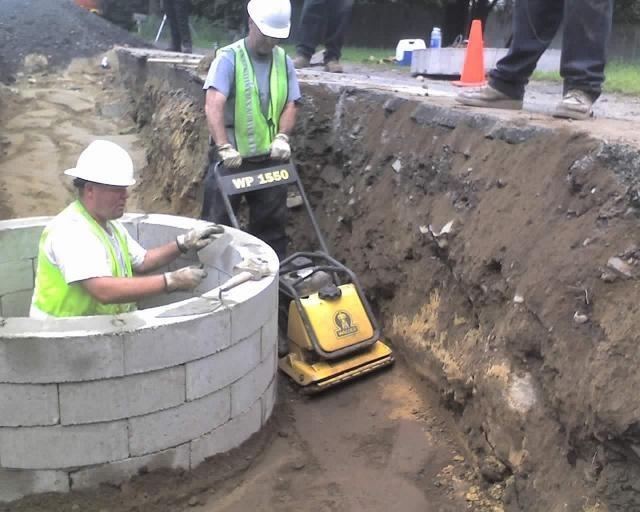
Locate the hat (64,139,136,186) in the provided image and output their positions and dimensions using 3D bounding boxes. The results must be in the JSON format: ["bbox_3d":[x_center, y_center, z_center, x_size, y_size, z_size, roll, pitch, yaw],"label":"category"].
[{"bbox_3d":[-1.439,-0.606,5.433,0.363,0.205,0.314,22,8,-19],"label":"hat"}]

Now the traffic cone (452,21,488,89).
[{"bbox_3d":[1.671,-2.157,8.798,0.378,0.727,0.400,-7,21,-23],"label":"traffic cone"}]

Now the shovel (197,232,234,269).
[{"bbox_3d":[-0.785,-0.047,6.221,0.258,0.256,0.208,-20,21,11],"label":"shovel"}]
